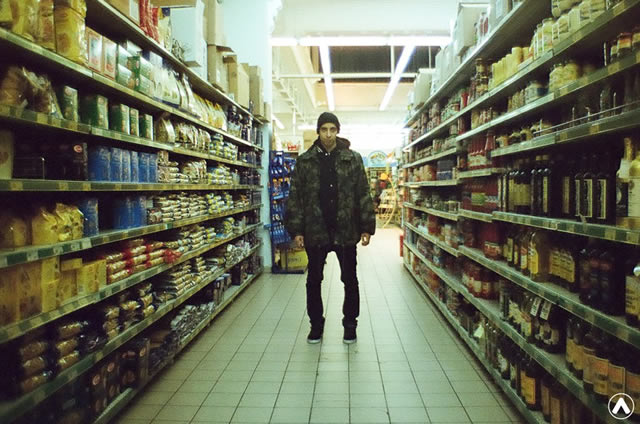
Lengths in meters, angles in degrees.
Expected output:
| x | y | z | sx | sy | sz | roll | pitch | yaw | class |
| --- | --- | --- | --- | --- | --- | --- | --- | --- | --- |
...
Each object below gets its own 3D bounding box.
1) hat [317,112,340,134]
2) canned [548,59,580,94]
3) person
| x | y | z | sx | sy | sz | roll | pitch | yaw | class |
| --- | --- | --- | --- | --- | --- | --- | --- | --- | --- |
| 0.087 | -0.839 | 4.802 | 0.188 | 0.182 | 0.196 | 0 | 3 | -4 | hat |
| 1.657 | -0.912 | 3.476 | 0.202 | 0.195 | 0.207 | -1 | 5 | -7 | canned |
| 0.098 | 0.148 | 4.819 | 0.831 | 2.122 | 0.560 | -1 | 12 | -1 | person |
